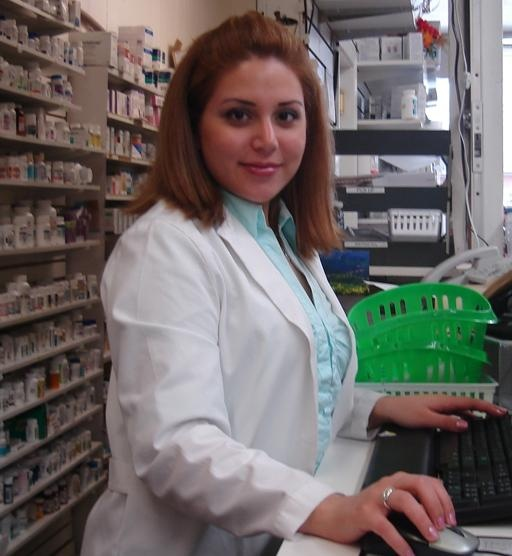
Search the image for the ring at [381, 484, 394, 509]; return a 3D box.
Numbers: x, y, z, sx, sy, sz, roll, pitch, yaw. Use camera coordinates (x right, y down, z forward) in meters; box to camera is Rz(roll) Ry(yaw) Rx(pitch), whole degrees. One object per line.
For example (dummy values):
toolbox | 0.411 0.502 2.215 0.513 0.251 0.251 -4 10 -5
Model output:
ring | 0.170 0.285 0.699 0.007 0.025 0.014 -5 -19 37
